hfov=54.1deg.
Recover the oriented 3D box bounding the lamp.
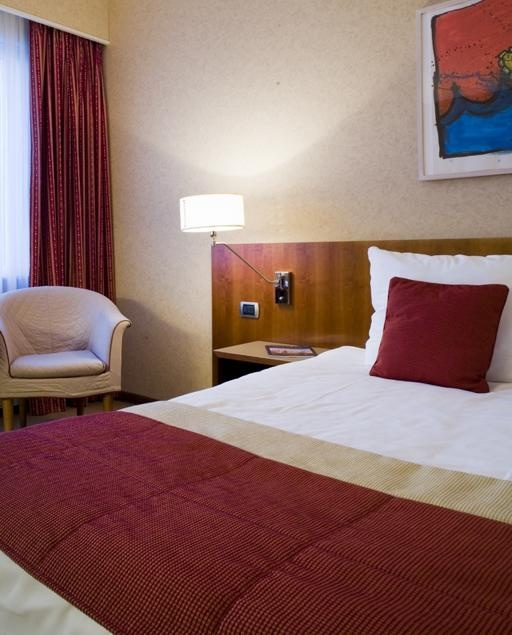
[{"bbox_3d":[-0.094,-0.333,2.707,0.563,0.636,0.302,-8,10,-27],"label":"lamp"}]
